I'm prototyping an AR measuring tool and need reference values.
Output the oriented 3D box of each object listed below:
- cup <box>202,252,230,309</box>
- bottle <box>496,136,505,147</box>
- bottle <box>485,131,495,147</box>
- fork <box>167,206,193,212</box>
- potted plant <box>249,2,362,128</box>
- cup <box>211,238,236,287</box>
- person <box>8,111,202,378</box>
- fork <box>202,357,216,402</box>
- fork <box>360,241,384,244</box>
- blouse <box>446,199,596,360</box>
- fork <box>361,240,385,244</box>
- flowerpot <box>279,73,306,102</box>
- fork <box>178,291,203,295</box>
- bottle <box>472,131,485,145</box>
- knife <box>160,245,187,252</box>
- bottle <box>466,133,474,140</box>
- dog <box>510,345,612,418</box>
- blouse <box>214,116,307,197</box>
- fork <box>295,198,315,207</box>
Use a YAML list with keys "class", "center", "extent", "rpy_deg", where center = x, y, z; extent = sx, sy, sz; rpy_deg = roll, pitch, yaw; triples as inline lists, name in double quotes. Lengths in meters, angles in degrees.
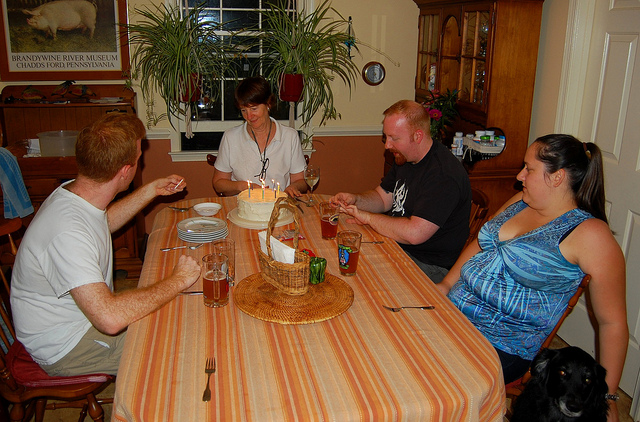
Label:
- class: "cup"
  center: [-0.489, 0.345, 2.130]
  extent: [0.117, 0.230, 0.207]
  rpy_deg: [-1, 14, -14]
- class: "bottle"
  center: [1.541, -0.590, 3.897]
  extent: [0.076, 0.056, 0.081]
  rpy_deg: [-1, 19, 0]
- class: "bottle"
  center: [1.447, -0.610, 3.905]
  extent: [0.069, 0.119, 0.111]
  rpy_deg: [-3, 19, 0]
- class: "fork"
  center: [-0.947, -0.007, 3.071]
  extent: [0.164, 0.028, 0.025]
  rpy_deg: [-3, 10, -16]
- class: "potted plant"
  center: [-0.179, -1.470, 4.911]
  extent: [1.071, 1.166, 1.256]
  rpy_deg: [3, 34, -13]
- class: "cup"
  center: [-0.497, 0.275, 2.363]
  extent: [0.108, 0.216, 0.113]
  rpy_deg: [-5, -5, 0]
- class: "person"
  center: [-1.292, 0.179, 2.595]
  extent: [0.841, 1.421, 0.961]
  rpy_deg: [-14, 51, -36]
- class: "fork"
  center: [-0.439, 0.656, 1.762]
  extent: [0.022, 0.020, 0.166]
  rpy_deg: [3, 45, -10]
- class: "fork"
  center: [0.307, 0.194, 2.712]
  extent: [0.141, 0.012, 0.017]
  rpy_deg: [5, 37, -14]
- class: "blouse"
  center: [1.110, 0.287, 2.537]
  extent: [0.451, 0.877, 0.617]
  rpy_deg: [8, 21, -14]
- class: "fork"
  center: [0.315, 0.193, 2.726]
  extent: [0.146, 0.018, 0.011]
  rpy_deg: [3, -22, -19]
- class: "flowerpot"
  center: [-0.263, -1.202, 4.436]
  extent: [0.234, 0.264, 0.233]
  rpy_deg: [6, 14, 14]
- class: "fork"
  center: [-0.633, 0.405, 2.213]
  extent: [0.119, 0.011, 0.017]
  rpy_deg: [-3, 10, -10]
- class: "bottle"
  center: [1.363, -0.628, 3.929]
  extent: [0.093, 0.116, 0.101]
  rpy_deg: [1, 17, 6]
- class: "knife"
  center: [-0.838, 0.220, 2.595]
  extent: [0.106, 0.013, 0.018]
  rpy_deg: [-2, 30, -27]
- class: "bottle"
  center: [1.355, -0.664, 4.089]
  extent: [0.043, 0.037, 0.046]
  rpy_deg: [-1, 19, 0]
- class: "dog"
  center: [1.118, 0.827, 2.085]
  extent: [0.384, 0.375, 0.180]
  rpy_deg: [14, 21, 36]
- class: "blouse"
  center: [-0.487, -0.421, 3.712]
  extent: [0.745, 0.796, 0.447]
  rpy_deg: [-2, 27, -9]
- class: "fork"
  center: [-0.110, -0.052, 3.237]
  extent: [0.165, 0.031, 0.039]
  rpy_deg: [35, 24, 25]
